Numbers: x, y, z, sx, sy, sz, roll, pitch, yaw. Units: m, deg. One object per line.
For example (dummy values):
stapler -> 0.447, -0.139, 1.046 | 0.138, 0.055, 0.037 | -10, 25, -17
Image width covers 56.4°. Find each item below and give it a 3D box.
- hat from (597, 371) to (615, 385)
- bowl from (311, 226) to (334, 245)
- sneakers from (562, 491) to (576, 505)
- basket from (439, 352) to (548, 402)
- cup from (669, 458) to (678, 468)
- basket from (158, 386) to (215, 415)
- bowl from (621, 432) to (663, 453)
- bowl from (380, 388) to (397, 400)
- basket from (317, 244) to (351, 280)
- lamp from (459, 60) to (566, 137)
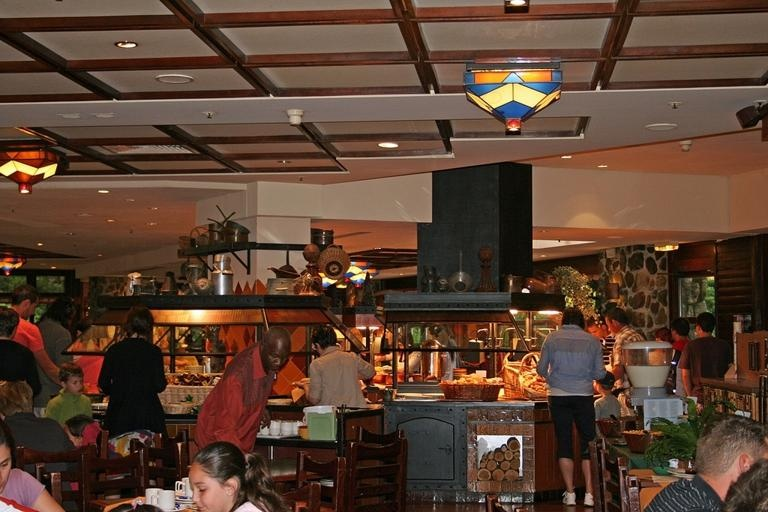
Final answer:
hat -> 2.482, 1.342, 7.927 | 0.227, 0.099, 0.277 | 6, -23, -6
bowl -> -0.916, -0.293, 10.396 | 0.313, 0.242, 0.270 | 0, 1, 10
sneakers -> 1.928, 2.530, 7.466 | 0.096, 0.086, 0.218 | 0, -2, 2
basket -> 1.266, 1.407, 8.141 | 0.975, 0.334, 0.684 | 1, -6, 2
cup -> 1.828, 1.312, 4.514 | 0.044, 0.041, 0.051 | 9, -13, -42
basket -> -2.177, 1.552, 7.778 | 0.575, 0.215, 0.523 | 0, -3, 2
bowl -> 1.806, 1.301, 5.033 | 0.180, 0.077, 0.175 | 0, -8, 0
bowl -> 0.054, 1.540, 7.940 | 0.131, 0.074, 0.124 | -1, -10, 0
basket -> -0.739, 0.088, 10.102 | 0.643, 0.526, 0.151 | -1, 9, -6
lamp -> 1.005, -1.235, 5.415 | 0.740, 0.505, 0.415 | 6, 2, 26
